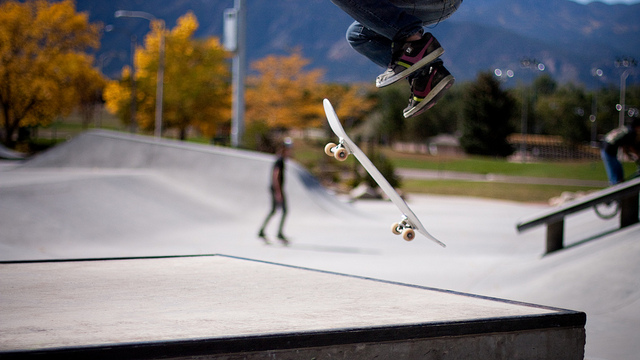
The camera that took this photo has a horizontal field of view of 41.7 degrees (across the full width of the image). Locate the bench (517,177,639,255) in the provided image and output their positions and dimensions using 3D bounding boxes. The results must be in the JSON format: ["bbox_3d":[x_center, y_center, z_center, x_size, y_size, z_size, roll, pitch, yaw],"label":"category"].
[{"bbox_3d":[6.161,0.823,19.837,2.797,1.669,0.554,3,2,-3],"label":"bench"}]

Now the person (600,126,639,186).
[{"bbox_3d":[7.218,-0.625,20.712,0.630,1.336,0.322,4,2,15],"label":"person"}]

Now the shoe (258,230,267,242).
[{"bbox_3d":[-1.512,1.433,22.057,0.226,0.364,0.957,3,2,-5],"label":"shoe"}]
